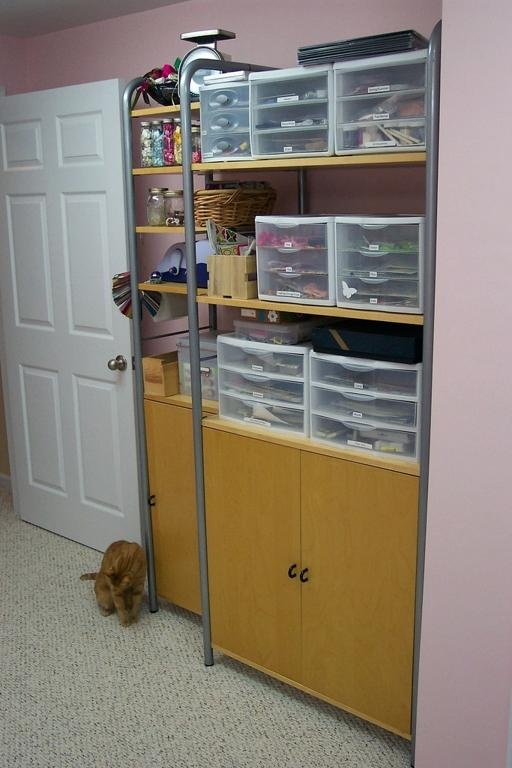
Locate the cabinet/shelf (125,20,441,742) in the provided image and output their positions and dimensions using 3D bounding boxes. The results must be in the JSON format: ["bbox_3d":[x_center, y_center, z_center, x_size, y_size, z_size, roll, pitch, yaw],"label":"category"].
[{"bbox_3d":[0.061,-0.003,1.708,0.310,1.851,1.079,-8,12,-42],"label":"cabinet/shelf"}]

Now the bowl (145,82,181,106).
[{"bbox_3d":[-0.304,-0.955,1.983,0.099,0.082,0.077,7,31,6],"label":"bowl"}]
